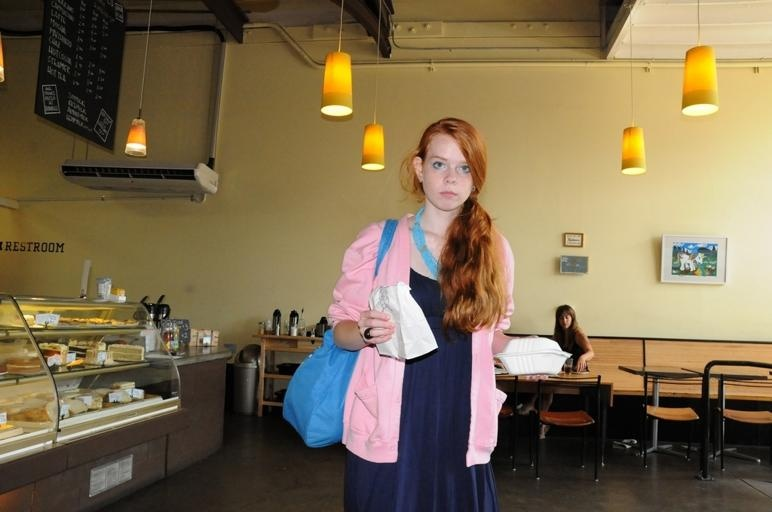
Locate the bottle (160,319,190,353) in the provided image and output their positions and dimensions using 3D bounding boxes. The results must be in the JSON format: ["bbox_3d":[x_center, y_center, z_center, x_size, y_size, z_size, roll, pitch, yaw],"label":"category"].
[{"bbox_3d":[-2.492,0.950,7.032,0.327,0.609,0.415,3,-9,-33],"label":"bottle"}]

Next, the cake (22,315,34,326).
[{"bbox_3d":[-3.267,0.584,5.383,0.092,0.083,0.093,7,5,-20],"label":"cake"}]

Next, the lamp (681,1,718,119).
[{"bbox_3d":[3.192,-1.796,5.947,0.309,0.652,0.329,4,4,27],"label":"lamp"}]

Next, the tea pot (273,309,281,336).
[{"bbox_3d":[-1.629,0.992,8.750,0.127,0.338,0.353,2,4,-11],"label":"tea pot"}]

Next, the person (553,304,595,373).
[{"bbox_3d":[2.628,1.140,8.133,0.511,0.859,1.249,3,4,7],"label":"person"}]

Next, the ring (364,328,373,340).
[{"bbox_3d":[-0.108,0.506,3.814,0.052,0.072,0.037,-5,-27,26],"label":"ring"}]
